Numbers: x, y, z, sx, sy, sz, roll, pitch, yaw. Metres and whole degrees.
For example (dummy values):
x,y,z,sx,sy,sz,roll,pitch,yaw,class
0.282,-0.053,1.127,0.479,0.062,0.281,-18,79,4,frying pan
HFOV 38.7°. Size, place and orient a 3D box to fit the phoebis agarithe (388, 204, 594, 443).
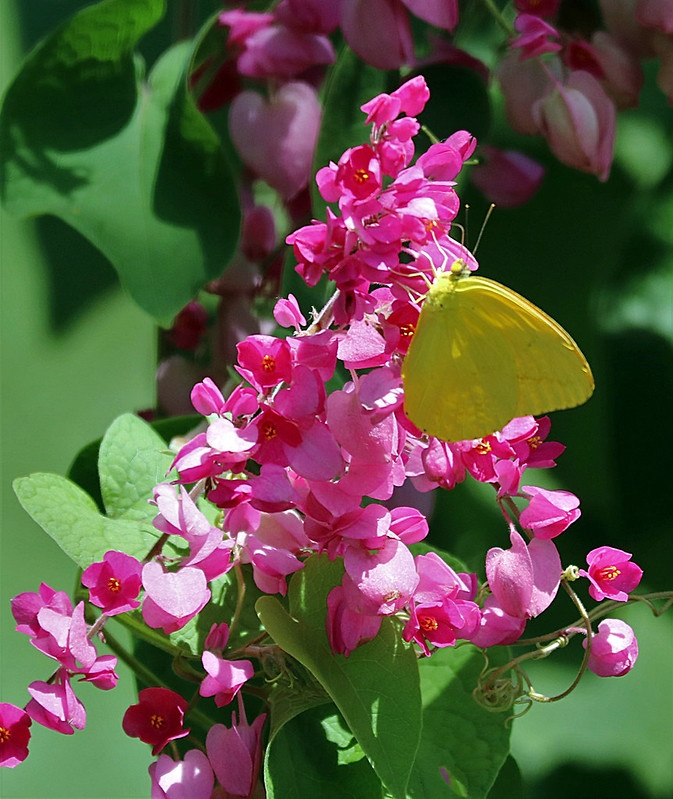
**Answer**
x,y,z,sx,sy,sz,roll,pitch,yaw,class
0.083,-0.045,0.554,0.149,0.109,0.057,-6,14,11,phoebis agarithe
